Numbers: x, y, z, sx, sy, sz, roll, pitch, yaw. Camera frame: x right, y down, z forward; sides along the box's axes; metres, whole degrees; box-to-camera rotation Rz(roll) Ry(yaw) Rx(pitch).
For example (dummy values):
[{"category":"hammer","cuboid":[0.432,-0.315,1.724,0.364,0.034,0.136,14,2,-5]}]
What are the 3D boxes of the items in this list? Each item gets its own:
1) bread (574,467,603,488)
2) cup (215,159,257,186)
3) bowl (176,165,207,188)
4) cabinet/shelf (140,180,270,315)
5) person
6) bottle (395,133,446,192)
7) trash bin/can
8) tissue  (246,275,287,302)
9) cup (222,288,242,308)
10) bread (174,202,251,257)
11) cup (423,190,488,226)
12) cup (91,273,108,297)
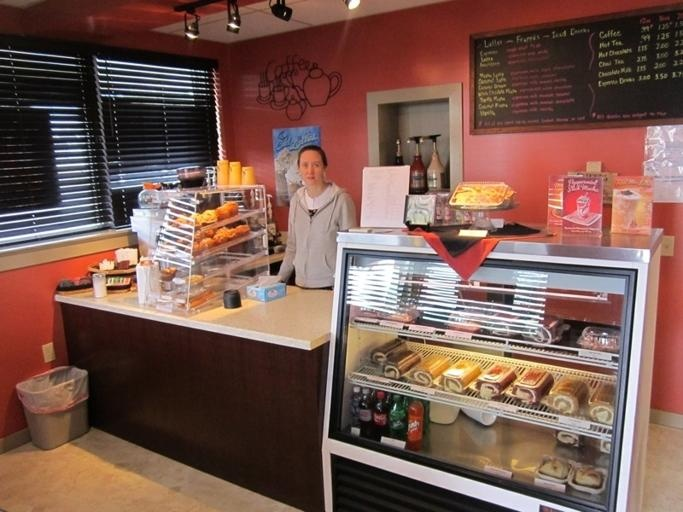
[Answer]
[{"category":"bread","cuboid":[1.101,0.982,2.242,0.080,0.023,0.077,5,25,28]},{"category":"cup","cuboid":[-0.817,-0.642,3.872,0.324,0.314,0.192,5,9,25]},{"category":"bowl","cuboid":[-1.246,-0.656,4.237,0.262,0.176,0.275,-2,7,0]},{"category":"cabinet/shelf","cuboid":[-0.931,-0.075,3.362,0.436,0.682,0.717,8,17,25]},{"category":"person","cuboid":[-0.193,0.039,3.836,0.608,1.671,0.468,4,7,28]},{"category":"bottle","cuboid":[0.757,-0.816,4.397,0.320,0.480,0.477,-1,14,8]},{"category":"trash bin/can","cuboid":[-2.108,1.167,3.770,0.313,0.473,0.398,-1,8,28]},{"category":"tissue ","cuboid":[-0.506,0.208,3.387,0.184,0.136,0.194,8,11,40]},{"category":"cup","cuboid":[-0.702,0.270,3.269,0.109,0.092,0.110,2,10,0]},{"category":"bread","cuboid":[-0.793,-0.183,3.222,0.385,0.124,0.284,-25,36,-38]},{"category":"cup","cuboid":[0.610,-0.251,2.652,0.293,0.165,0.189,10,-14,16]},{"category":"cup","cuboid":[-1.779,0.197,3.717,0.092,0.159,0.249,-8,15,-21]}]
